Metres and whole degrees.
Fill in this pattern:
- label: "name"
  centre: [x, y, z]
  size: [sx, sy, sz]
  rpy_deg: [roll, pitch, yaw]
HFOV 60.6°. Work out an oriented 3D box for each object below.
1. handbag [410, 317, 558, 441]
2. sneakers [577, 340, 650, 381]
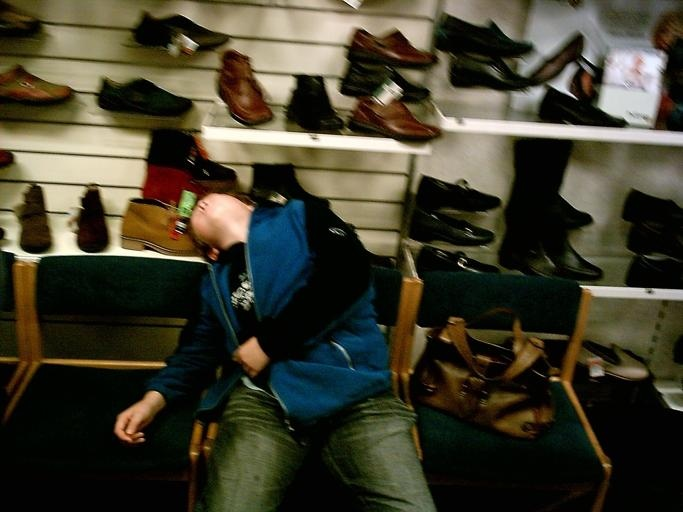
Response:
- label: "handbag"
  centre: [0.508, 0.457, 2.114]
  size: [0.410, 0.300, 0.213]
  rpy_deg: [20, -1, 9]
- label: "sneakers"
  centre: [1.220, 0.481, 2.646]
  size: [0.298, 0.082, 0.169]
  rpy_deg: [5, 23, 18]
